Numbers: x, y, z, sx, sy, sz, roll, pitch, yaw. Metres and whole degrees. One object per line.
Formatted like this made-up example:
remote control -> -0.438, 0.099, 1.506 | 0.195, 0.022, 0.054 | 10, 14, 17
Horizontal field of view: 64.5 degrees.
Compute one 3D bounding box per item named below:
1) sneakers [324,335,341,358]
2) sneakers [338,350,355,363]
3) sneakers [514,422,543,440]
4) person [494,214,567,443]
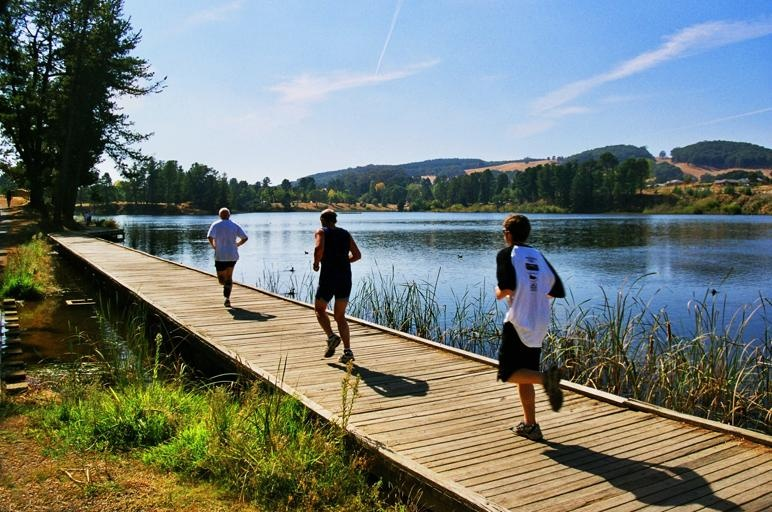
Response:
sneakers -> -0.870, 1.398, 9.900 | 0.208, 0.462, 0.167 | 13, 22, 11
sneakers -> -0.612, 1.560, 9.599 | 0.215, 0.222, 0.506 | -1, 3, -14
sneakers -> 1.795, 2.190, 7.792 | 0.379, 0.167, 0.155 | 2, 5, 32
person -> 1.817, 0.867, 7.721 | 0.835, 2.829, 0.620 | 2, 3, 17
